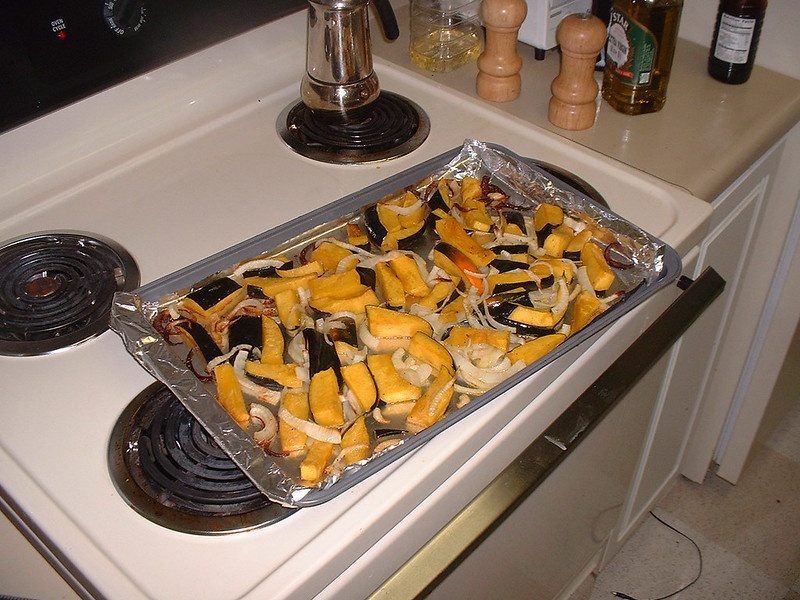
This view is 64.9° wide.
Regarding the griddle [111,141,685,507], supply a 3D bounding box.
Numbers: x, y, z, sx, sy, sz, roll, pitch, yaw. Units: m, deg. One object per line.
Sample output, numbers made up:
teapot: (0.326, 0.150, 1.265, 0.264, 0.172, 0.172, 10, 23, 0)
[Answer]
griddle: (0.000, 0.023, 0.849, 0.632, 0.092, 0.410, -29, 54, -27)
